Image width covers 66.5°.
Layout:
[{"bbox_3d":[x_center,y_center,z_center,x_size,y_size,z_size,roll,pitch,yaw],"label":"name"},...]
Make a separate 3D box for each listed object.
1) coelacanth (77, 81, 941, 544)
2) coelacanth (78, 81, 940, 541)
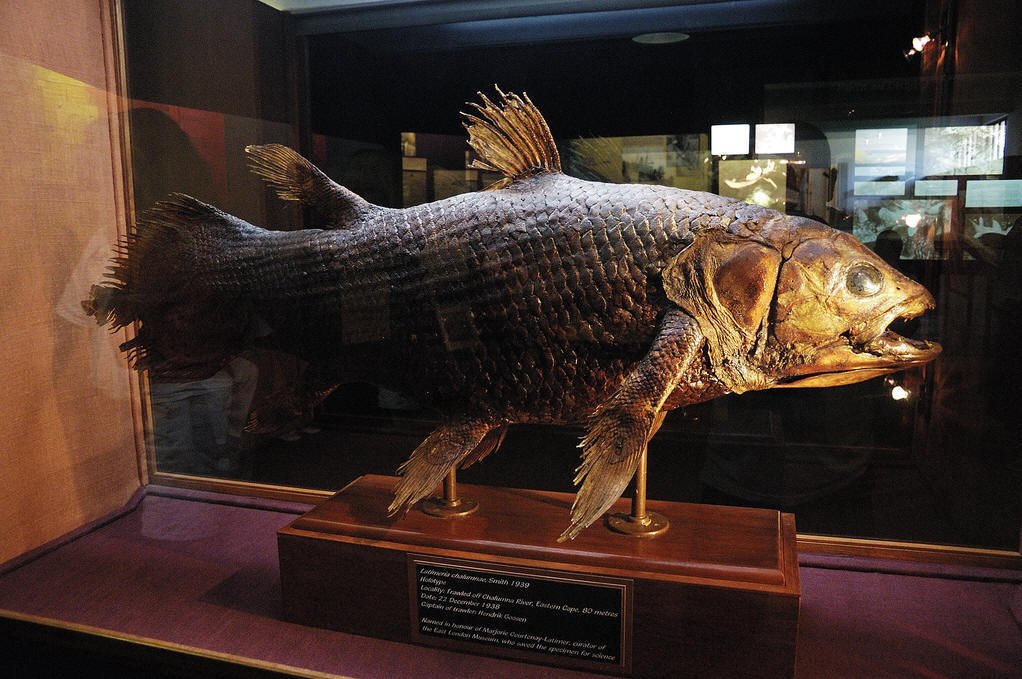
[{"bbox_3d":[-0.055,-0.080,2.255,2.493,1.000,0.590,3,12,6],"label":"coelacanth"},{"bbox_3d":[-0.036,-0.085,2.277,2.488,0.984,0.590,3,9,7],"label":"coelacanth"}]
